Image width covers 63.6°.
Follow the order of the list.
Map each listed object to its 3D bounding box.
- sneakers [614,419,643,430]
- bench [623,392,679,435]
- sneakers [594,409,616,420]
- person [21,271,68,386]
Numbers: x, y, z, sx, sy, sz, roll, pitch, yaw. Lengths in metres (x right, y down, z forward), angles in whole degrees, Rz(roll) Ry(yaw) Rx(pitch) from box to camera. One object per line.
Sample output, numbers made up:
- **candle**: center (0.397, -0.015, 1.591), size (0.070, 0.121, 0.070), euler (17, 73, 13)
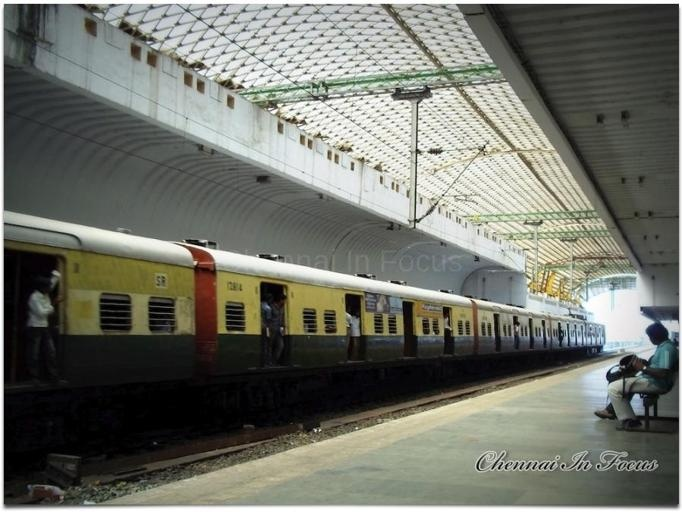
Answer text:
- **sneakers**: center (5.736, 3.328, 10.966), size (0.544, 0.218, 0.196), euler (-2, -1, 13)
- **bench**: center (6.165, 3.221, 10.970), size (0.918, 0.577, 1.287), euler (0, 1, 32)
- **sneakers**: center (5.655, 3.435, 11.871), size (0.456, 0.205, 0.174), euler (7, -3, 33)
- **person**: center (-5.193, 1.234, 9.602), size (0.396, 1.978, 0.535), euler (-2, -6, -7)
